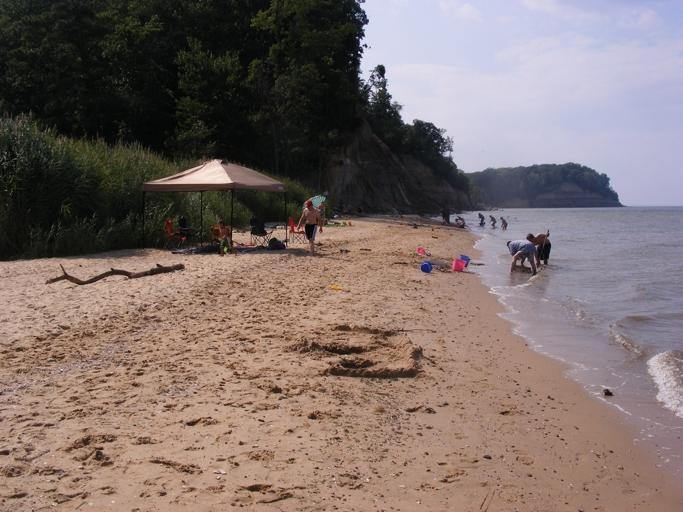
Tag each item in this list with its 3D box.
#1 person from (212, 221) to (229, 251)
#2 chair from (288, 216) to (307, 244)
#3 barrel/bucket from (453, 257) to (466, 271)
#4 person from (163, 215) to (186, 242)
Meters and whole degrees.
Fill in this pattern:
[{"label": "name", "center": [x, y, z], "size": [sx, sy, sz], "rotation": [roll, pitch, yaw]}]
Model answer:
[{"label": "person", "center": [-3.641, -0.642, 19.102], "size": [0.483, 0.894, 1.624], "rotation": [1, 9, -18]}, {"label": "chair", "center": [-1.748, -1.020, 24.426], "size": [0.592, 1.040, 1.555], "rotation": [0, 7, 1]}, {"label": "barrel/bucket", "center": [3.527, 0.268, 18.958], "size": [0.317, 0.303, 0.400], "rotation": [2, 21, 26]}, {"label": "person", "center": [-5.250, -0.852, 19.829], "size": [0.710, 0.829, 1.393], "rotation": [2, 9, -15]}]
